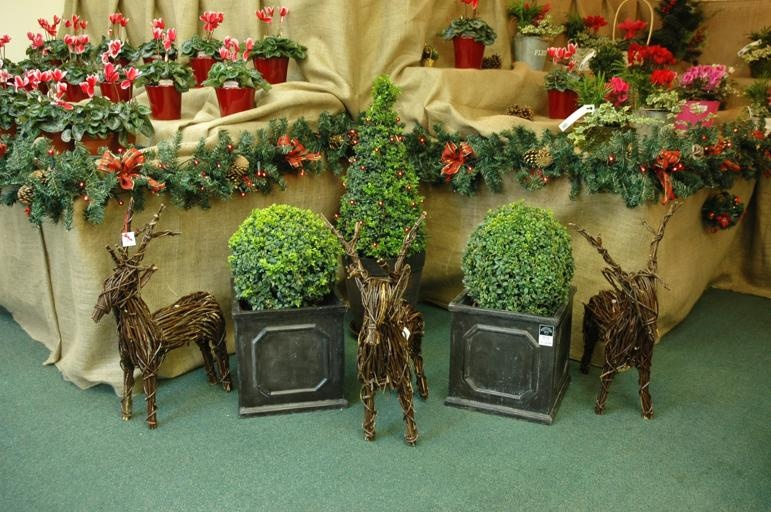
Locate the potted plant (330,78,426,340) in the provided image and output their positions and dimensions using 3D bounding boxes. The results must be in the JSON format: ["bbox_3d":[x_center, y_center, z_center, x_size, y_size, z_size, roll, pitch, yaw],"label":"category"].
[{"bbox_3d":[-0.040,-0.325,3.784,0.602,1.736,0.569,-4,20,-5],"label":"potted plant"}]

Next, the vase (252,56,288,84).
[{"bbox_3d":[-0.832,-1.390,4.061,0.214,0.172,0.229,-6,20,-15],"label":"vase"}]

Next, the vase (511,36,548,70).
[{"bbox_3d":[1.200,-1.709,4.680,0.319,0.264,0.299,14,22,32],"label":"vase"}]

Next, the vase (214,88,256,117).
[{"bbox_3d":[-1.015,-1.060,3.796,0.195,0.163,0.218,1,16,4],"label":"vase"}]

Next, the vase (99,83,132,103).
[{"bbox_3d":[-1.848,-1.129,3.768,0.209,0.146,0.219,-13,25,-29],"label":"vase"}]

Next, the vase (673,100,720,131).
[{"bbox_3d":[2.073,-0.949,3.676,0.198,0.173,0.534,12,25,33],"label":"vase"}]

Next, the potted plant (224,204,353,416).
[{"bbox_3d":[-0.604,0.303,3.425,0.796,1.203,0.746,-1,4,-33],"label":"potted plant"}]

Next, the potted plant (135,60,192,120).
[{"bbox_3d":[-1.516,-1.195,3.976,0.380,0.366,0.400,4,27,2],"label":"potted plant"}]

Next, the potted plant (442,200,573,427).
[{"bbox_3d":[0.756,0.308,3.251,0.693,1.136,0.643,6,22,20],"label":"potted plant"}]

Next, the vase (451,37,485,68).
[{"bbox_3d":[0.634,-1.573,4.242,0.217,0.172,0.206,-17,30,-32],"label":"vase"}]

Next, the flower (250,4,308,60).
[{"bbox_3d":[-0.808,-1.652,4.160,0.445,0.458,0.440,-22,32,-36],"label":"flower"}]

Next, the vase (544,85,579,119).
[{"bbox_3d":[1.310,-1.140,4.113,0.223,0.189,0.175,5,21,9],"label":"vase"}]
